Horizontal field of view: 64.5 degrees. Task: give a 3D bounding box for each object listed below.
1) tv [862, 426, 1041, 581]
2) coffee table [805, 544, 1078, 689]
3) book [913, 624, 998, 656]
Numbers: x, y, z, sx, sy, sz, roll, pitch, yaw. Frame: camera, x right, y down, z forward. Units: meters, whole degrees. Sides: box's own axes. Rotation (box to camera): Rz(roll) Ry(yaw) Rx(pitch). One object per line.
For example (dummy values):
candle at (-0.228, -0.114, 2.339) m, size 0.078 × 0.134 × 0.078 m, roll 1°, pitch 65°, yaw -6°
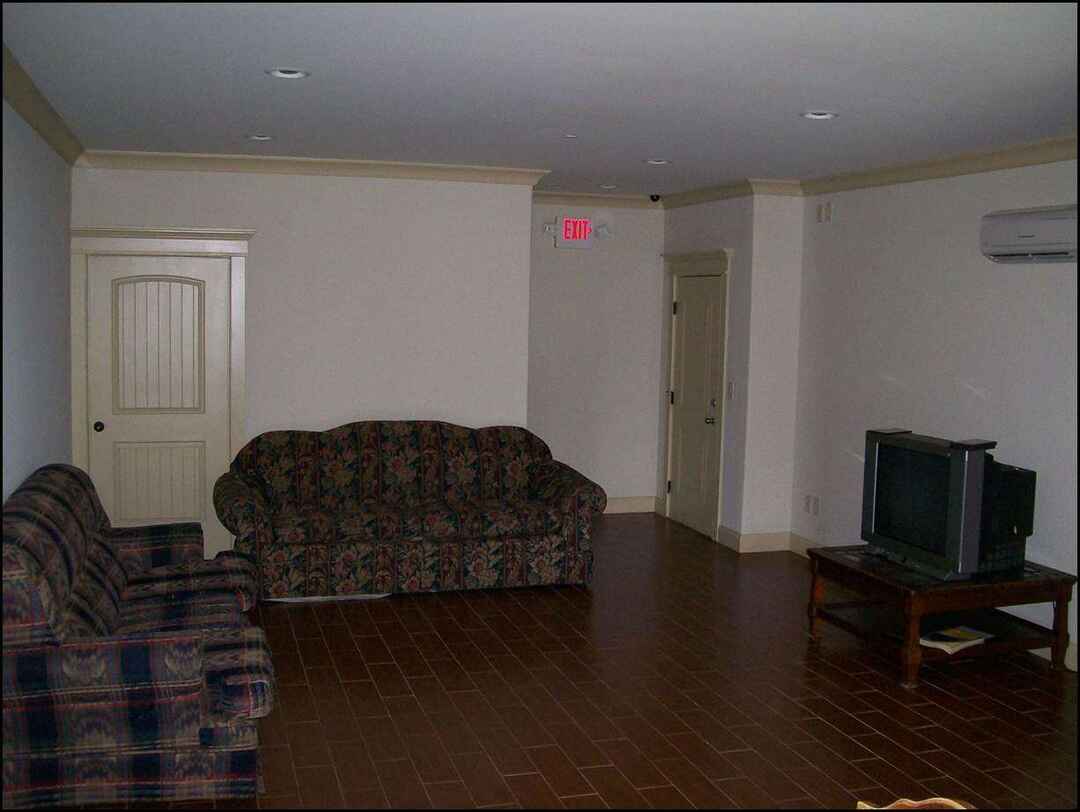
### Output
tv at (2.533, 0.558, 5.220) m, size 0.682 × 0.806 × 0.941 m, roll -2°, pitch 5°, yaw -15°
coffee table at (2.438, 1.161, 5.037) m, size 0.954 × 0.473 × 0.920 m, roll -3°, pitch 6°, yaw -20°
book at (2.409, 1.370, 4.951) m, size 0.500 × 0.084 × 0.277 m, roll -5°, pitch 10°, yaw -35°
